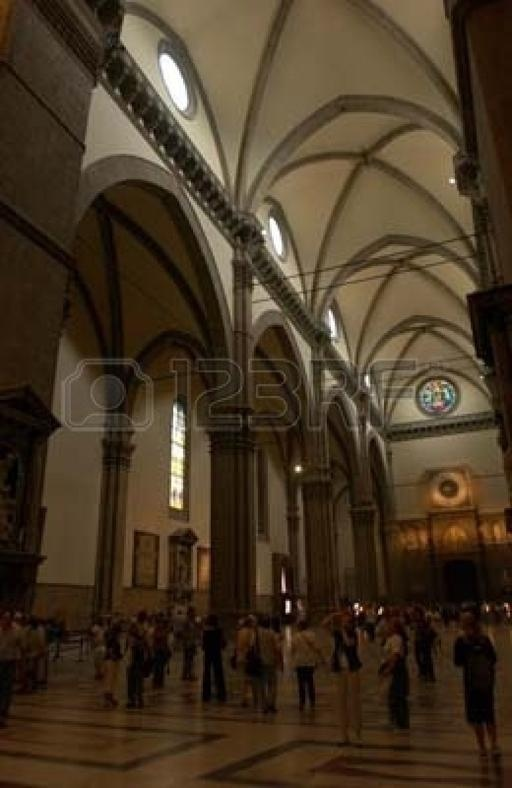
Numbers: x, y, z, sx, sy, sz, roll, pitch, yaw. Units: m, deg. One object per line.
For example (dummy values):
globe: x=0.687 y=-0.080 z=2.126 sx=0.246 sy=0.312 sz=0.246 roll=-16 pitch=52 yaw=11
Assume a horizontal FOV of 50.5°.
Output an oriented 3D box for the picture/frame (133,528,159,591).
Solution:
picture/frame: x=-3.558 y=5.277 z=17.367 sx=0.096 sy=1.691 sz=1.375 roll=-11 pitch=-23 yaw=23
